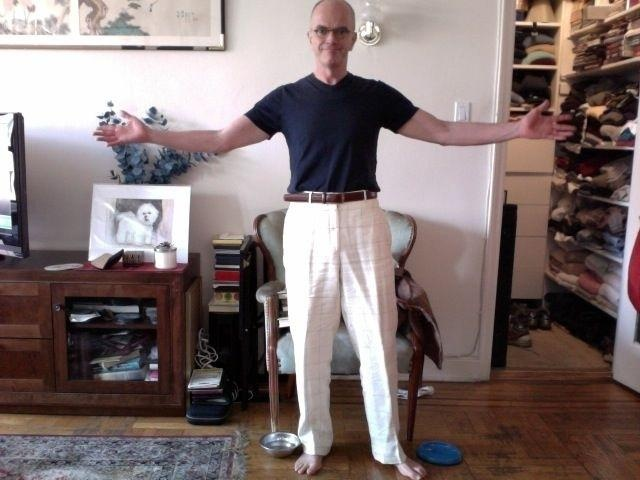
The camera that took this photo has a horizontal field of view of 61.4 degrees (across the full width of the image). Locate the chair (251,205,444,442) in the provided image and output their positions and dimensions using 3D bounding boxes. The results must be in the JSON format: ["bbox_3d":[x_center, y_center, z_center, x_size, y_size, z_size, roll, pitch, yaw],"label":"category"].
[{"bbox_3d":[0.206,0.421,3.179,1.107,1.303,1.146,0,-2,0],"label":"chair"}]

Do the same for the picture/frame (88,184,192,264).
[{"bbox_3d":[-1.007,-0.082,3.005,0.432,0.363,0.029,1,-7,-1],"label":"picture/frame"}]

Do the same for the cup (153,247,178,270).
[{"bbox_3d":[-0.822,0.094,2.863,0.109,0.110,0.114,1,5,0],"label":"cup"}]

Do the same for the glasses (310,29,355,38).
[{"bbox_3d":[0.047,-0.876,2.261,0.148,0.041,0.029,-2,9,0],"label":"glasses"}]

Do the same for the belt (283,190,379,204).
[{"bbox_3d":[0.038,-0.191,2.378,0.412,0.054,0.110,-1,9,7],"label":"belt"}]

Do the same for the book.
[{"bbox_3d":[-0.446,0.437,2.948,0.402,1.160,0.823,1,7,5],"label":"book"}]
